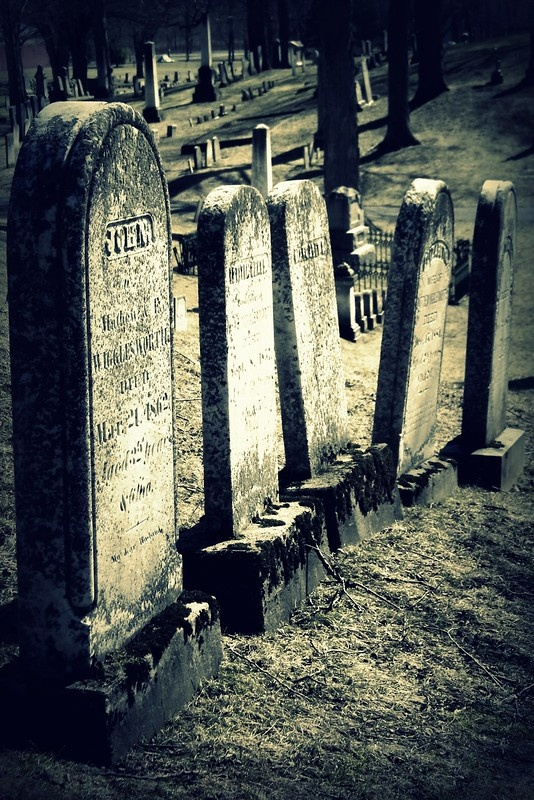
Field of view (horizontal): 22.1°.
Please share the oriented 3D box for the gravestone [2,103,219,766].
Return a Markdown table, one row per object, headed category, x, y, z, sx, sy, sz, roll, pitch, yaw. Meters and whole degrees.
| category | x | y | z | sx | sy | sz | roll | pitch | yaw |
| --- | --- | --- | --- | --- | --- | --- | --- | --- | --- |
| gravestone | -0.613 | 0.091 | 5.050 | 0.394 | 2.345 | 0.957 | 3 | 10 | 33 |
